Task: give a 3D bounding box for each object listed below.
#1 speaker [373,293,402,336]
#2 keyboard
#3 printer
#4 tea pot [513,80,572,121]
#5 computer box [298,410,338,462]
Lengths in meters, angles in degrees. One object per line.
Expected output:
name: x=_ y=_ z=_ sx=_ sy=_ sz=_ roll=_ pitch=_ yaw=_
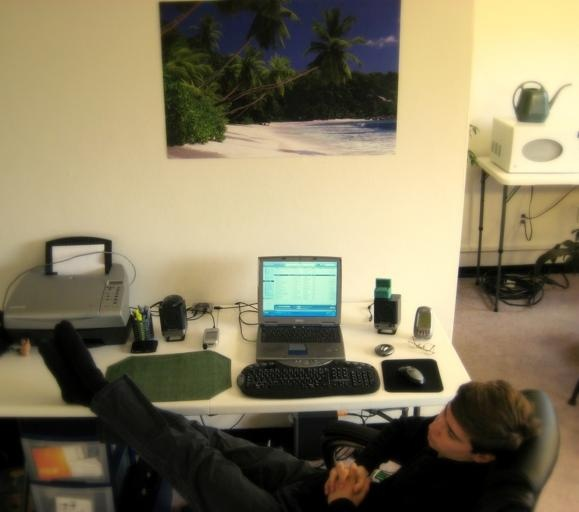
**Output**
speaker: x=0.424 y=0.243 z=2.312 sx=0.149 sy=0.234 sz=0.158 roll=1 pitch=15 yaw=10
keyboard: x=0.079 y=0.474 z=2.027 sx=0.557 sy=0.078 sz=0.238 roll=-1 pitch=21 yaw=0
printer: x=-0.952 y=0.171 z=2.442 sx=0.570 sy=0.493 sz=0.437 roll=2 pitch=25 yaw=-3
tea pot: x=1.756 y=-1.092 z=3.584 sx=0.424 sy=0.324 sz=0.231 roll=-2 pitch=25 yaw=6
computer box: x=0.109 y=0.860 z=2.636 sx=0.185 sy=0.354 sz=0.253 roll=-1 pitch=22 yaw=-1
